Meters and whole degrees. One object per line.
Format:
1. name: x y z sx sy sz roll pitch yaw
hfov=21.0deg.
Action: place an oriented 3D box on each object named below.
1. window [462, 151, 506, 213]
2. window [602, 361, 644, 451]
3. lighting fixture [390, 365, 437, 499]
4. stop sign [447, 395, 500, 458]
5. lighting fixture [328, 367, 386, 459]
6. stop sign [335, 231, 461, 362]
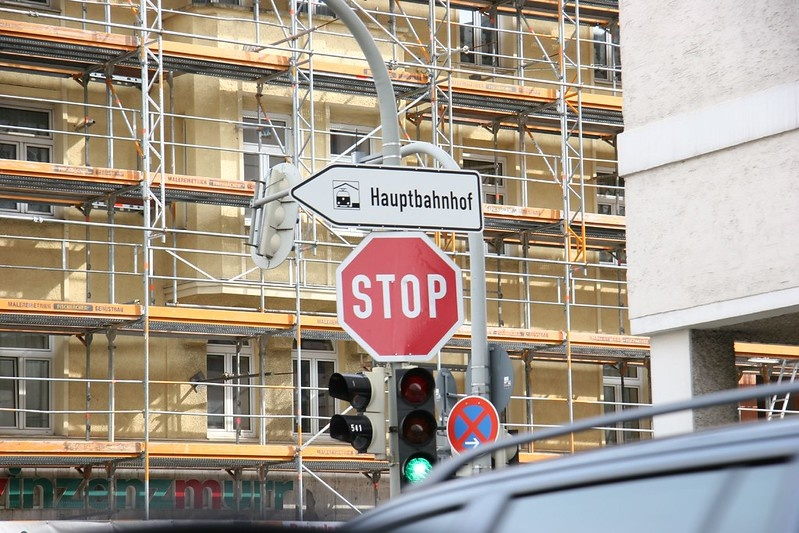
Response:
1. window: 1.718 -1.866 42.787 0.907 0.090 0.957 -6 -33 1
2. window: 4.568 2.750 43.378 0.130 1.650 1.546 -2 0 -31
3. lighting fixture: 0.249 2.110 27.853 0.528 1.572 0.377 -2 -10 2
4. stop sign: 1.024 2.169 28.881 0.882 0.814 0.032 -3 -11 39
5. lighting fixture: -0.507 1.892 27.890 0.723 1.157 0.443 -1 -10 0
6. stop sign: 0.043 0.384 27.715 1.901 1.706 0.063 -1 1 29
